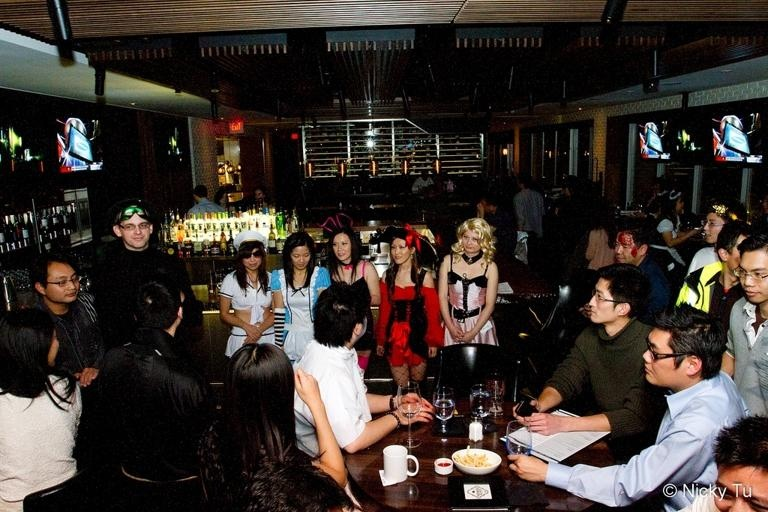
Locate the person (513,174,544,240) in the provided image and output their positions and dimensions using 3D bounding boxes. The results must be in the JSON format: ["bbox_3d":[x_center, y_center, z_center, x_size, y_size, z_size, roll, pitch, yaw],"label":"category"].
[{"bbox_3d":[2.669,-0.928,10.351,0.455,1.202,0.706,3,9,39],"label":"person"}]

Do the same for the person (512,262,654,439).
[{"bbox_3d":[1.422,0.711,3.889,1.110,1.195,1.010,-3,1,30],"label":"person"}]

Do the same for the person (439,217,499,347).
[{"bbox_3d":[0.804,0.257,5.350,0.572,1.250,0.351,-2,7,5],"label":"person"}]

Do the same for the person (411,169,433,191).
[{"bbox_3d":[1.017,-2.005,15.011,0.550,0.527,0.855,1,7,27],"label":"person"}]

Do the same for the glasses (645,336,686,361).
[{"bbox_3d":[1.618,0.525,3.163,0.151,0.039,0.127,1,13,4],"label":"glasses"}]

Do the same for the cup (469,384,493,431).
[{"bbox_3d":[0.630,0.984,3.600,0.225,0.244,0.235,-5,-4,0],"label":"cup"}]

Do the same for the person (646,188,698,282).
[{"bbox_3d":[4.215,-0.099,8.034,0.768,1.555,0.627,2,13,37],"label":"person"}]

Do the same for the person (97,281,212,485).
[{"bbox_3d":[-1.419,0.788,3.556,0.683,1.219,0.445,-2,7,5],"label":"person"}]

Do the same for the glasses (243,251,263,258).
[{"bbox_3d":[-1.294,-0.024,5.428,0.155,0.057,0.029,-6,8,-30],"label":"glasses"}]

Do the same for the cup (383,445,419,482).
[{"bbox_3d":[0.063,1.192,3.217,0.240,0.172,0.150,4,4,18],"label":"cup"}]

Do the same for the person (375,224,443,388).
[{"bbox_3d":[0.201,0.707,5.389,0.789,1.967,0.718,0,21,8],"label":"person"}]

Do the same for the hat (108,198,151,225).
[{"bbox_3d":[-2.142,-0.375,4.593,0.350,0.201,0.194,-3,7,-12],"label":"hat"}]

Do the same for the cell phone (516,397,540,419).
[{"bbox_3d":[0.929,1.002,3.644,0.151,0.131,0.084,16,-2,-6],"label":"cell phone"}]

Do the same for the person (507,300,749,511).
[{"bbox_3d":[1.611,0.804,3.949,1.404,1.992,1.007,6,9,26],"label":"person"}]

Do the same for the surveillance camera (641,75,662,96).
[{"bbox_3d":[2.599,-1.695,5.365,0.131,0.163,0.422,1,7,24],"label":"surveillance camera"}]
